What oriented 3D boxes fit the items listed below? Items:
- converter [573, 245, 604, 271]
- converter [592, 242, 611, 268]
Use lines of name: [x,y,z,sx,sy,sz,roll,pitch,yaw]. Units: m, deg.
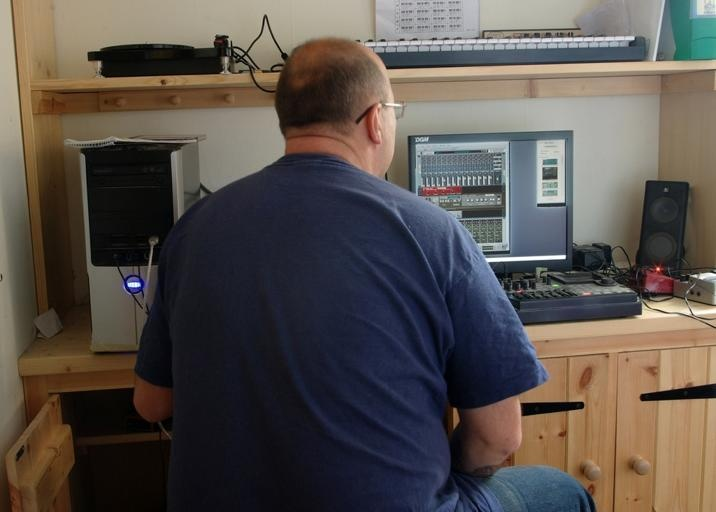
converter: [0.965,0.008,2.943,0.087,0.082,0.127,0,3,-1]
converter: [1.017,-0.002,2.954,0.080,0.088,0.045,2,10,20]
